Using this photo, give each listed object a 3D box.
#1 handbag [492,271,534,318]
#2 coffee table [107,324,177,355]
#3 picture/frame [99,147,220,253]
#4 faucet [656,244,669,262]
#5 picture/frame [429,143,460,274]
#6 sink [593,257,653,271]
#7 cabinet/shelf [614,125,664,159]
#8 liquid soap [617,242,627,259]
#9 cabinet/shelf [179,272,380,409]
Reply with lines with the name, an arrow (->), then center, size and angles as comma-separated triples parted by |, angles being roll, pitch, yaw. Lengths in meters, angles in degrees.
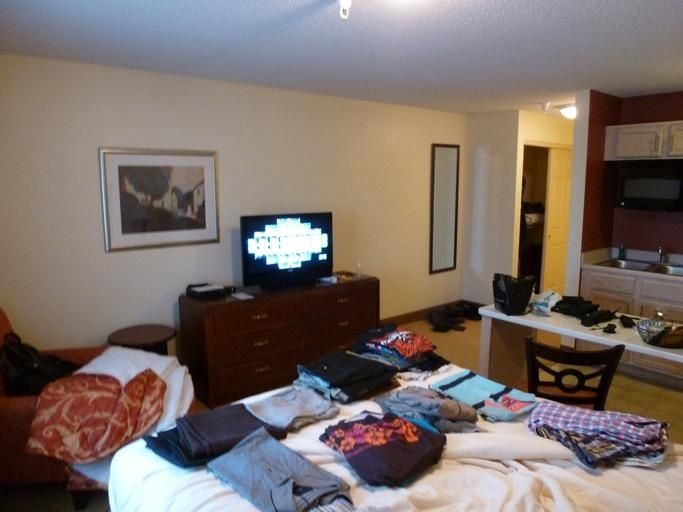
handbag -> 1.352, 0.291, 4.287 | 0.331, 0.420, 0.311 | 1, 9, -14
coffee table -> -1.708, 0.743, 4.520 | 0.524, 0.188, 0.530 | -9, 13, -28
picture/frame -> -1.679, -0.507, 4.717 | 0.877, 0.774, 0.060 | -9, 16, -35
faucet -> 3.500, -0.009, 5.707 | 0.105, 0.178, 0.102 | 2, 12, 22
picture/frame -> 1.379, -0.870, 7.012 | 0.382, 1.198, 0.039 | -2, 9, -10
sink -> 3.099, 0.105, 5.782 | 0.645, 0.113, 0.405 | -1, 12, 7
cabinet/shelf -> 3.070, -1.150, 5.489 | 0.459, 0.343, 0.286 | 3, 4, 13
liquid soap -> 3.168, -0.040, 5.921 | 0.089, 0.154, 0.138 | 5, 14, 33
cabinet/shelf -> -0.536, 0.770, 5.322 | 1.939, 0.926, 0.628 | -7, 10, -36
